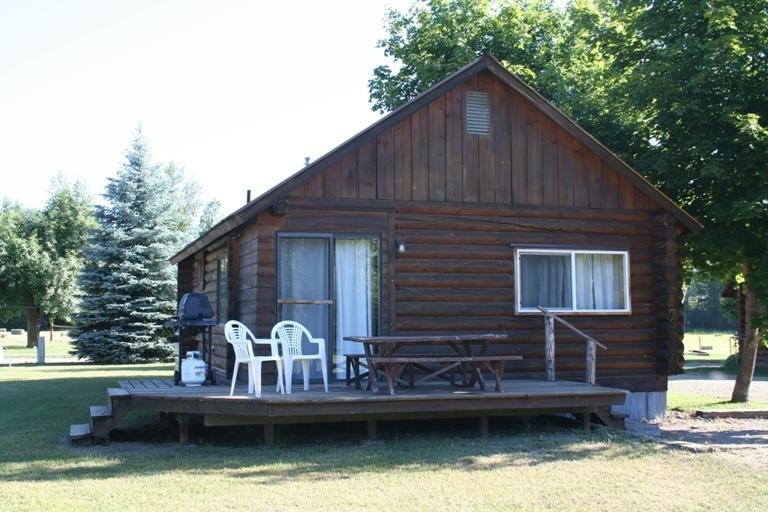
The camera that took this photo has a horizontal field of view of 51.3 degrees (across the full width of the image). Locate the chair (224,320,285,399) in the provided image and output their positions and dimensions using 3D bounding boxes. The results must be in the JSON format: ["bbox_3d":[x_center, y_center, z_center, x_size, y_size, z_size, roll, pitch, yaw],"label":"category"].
[{"bbox_3d":[-2.724,2.104,16.862,1.187,1.528,1.995,0,4,-8],"label":"chair"}]
